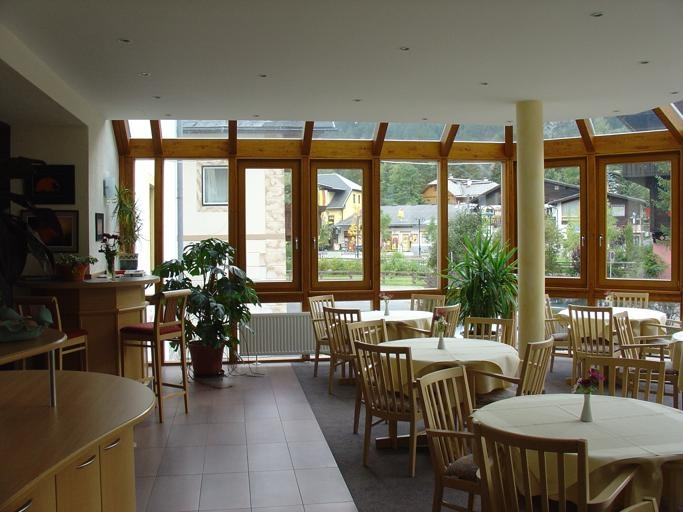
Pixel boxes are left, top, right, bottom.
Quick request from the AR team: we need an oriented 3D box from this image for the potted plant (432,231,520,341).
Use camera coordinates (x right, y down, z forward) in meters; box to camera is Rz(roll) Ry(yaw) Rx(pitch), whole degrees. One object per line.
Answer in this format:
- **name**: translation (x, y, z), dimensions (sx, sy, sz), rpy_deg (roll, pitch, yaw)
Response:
- **potted plant**: translation (2.107, 0.338, 7.649), dimensions (0.957, 1.194, 1.027), rpy_deg (7, 7, -10)

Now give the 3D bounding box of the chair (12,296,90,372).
- **chair**: translation (-2.744, 0.785, 5.203), dimensions (0.505, 0.741, 0.534), rpy_deg (4, -2, -6)

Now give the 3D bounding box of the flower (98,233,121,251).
- **flower**: translation (-2.874, -0.172, 6.419), dimensions (0.218, 0.230, 0.181), rpy_deg (1, 6, -5)

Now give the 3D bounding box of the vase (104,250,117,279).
- **vase**: translation (-2.610, 0.083, 5.909), dimensions (0.117, 0.305, 0.323), rpy_deg (-2, 4, -21)

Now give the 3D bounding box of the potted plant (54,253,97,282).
- **potted plant**: translation (-2.931, 0.147, 5.708), dimensions (0.437, 0.281, 0.369), rpy_deg (2, -7, -19)

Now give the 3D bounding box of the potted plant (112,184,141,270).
- **potted plant**: translation (-2.832, -0.485, 6.920), dimensions (0.357, 1.000, 1.561), rpy_deg (-2, 4, -23)

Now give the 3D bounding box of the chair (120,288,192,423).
- **chair**: translation (-2.035, 0.987, 5.693), dimensions (0.628, 1.243, 0.628), rpy_deg (2, 2, -2)
